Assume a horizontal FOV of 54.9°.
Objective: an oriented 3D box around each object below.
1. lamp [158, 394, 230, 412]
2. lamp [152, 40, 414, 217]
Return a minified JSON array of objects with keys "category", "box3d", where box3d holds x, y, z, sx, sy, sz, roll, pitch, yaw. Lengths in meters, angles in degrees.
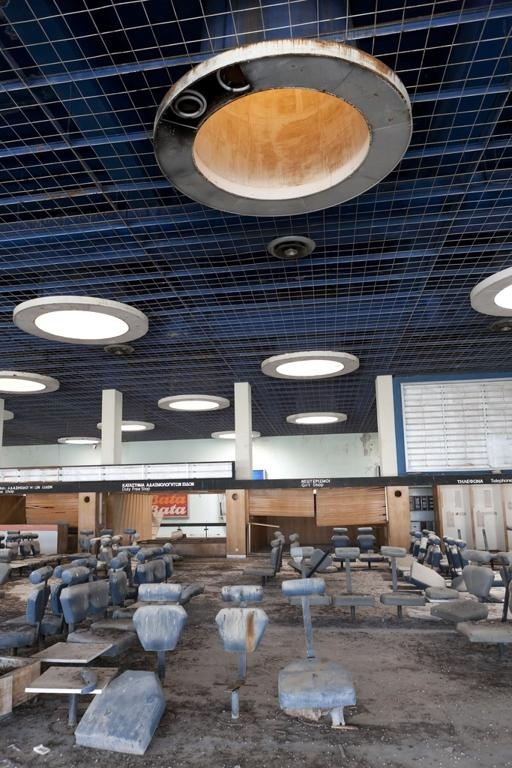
[{"category":"lamp","box3d":[-2.058,0.506,16.072,2.155,0.503,1.445,-2,-10,-13]},{"category":"lamp","box3d":[0.518,-2.299,4.933,2.733,0.927,2.676,-14,23,-41]}]
